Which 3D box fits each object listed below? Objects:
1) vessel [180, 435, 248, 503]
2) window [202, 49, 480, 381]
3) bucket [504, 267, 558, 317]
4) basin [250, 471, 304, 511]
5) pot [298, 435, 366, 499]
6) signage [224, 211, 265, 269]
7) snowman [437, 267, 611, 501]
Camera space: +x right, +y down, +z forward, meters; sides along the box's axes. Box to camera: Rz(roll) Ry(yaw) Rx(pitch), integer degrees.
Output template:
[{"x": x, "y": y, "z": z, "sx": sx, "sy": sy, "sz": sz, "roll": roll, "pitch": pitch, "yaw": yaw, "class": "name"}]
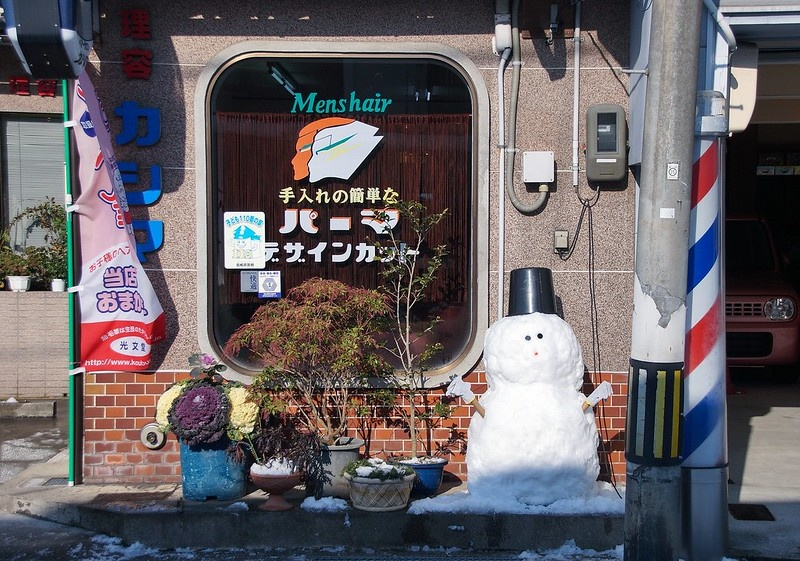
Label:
[{"x": -1.801, "y": 1.823, "z": 10.810, "sx": 0.577, "sy": 0.490, "sz": 0.546, "roll": -1, "pitch": -6, "yaw": -2, "class": "vessel"}, {"x": -0.638, "y": -0.650, "z": 11.412, "sx": 3.000, "sy": 3.756, "sz": 0.148, "roll": 0, "pitch": 1, "yaw": 2, "class": "window"}, {"x": 1.285, "y": 0.122, "z": 10.949, "sx": 0.427, "sy": 0.439, "sz": 0.449, "roll": 0, "pitch": -3, "yaw": 0, "class": "bucket"}, {"x": -1.170, "y": 1.961, "z": 10.534, "sx": 0.356, "sy": 0.243, "sz": 0.378, "roll": 0, "pitch": -19, "yaw": 0, "class": "basin"}, {"x": -0.550, "y": 1.785, "z": 10.717, "sx": 0.464, "sy": 0.405, "sz": 0.500, "roll": 0, "pitch": -3, "yaw": 0, "class": "pot"}, {"x": -1.626, "y": -0.399, "z": 11.504, "sx": 0.522, "sy": 0.763, "sz": 0.076, "roll": -1, "pitch": 2, "yaw": -3, "class": "signage"}, {"x": 1.257, "y": 1.215, "z": 10.591, "sx": 1.232, "sy": 1.675, "sz": 0.647, "roll": 2, "pitch": 11, "yaw": 10, "class": "snowman"}]
